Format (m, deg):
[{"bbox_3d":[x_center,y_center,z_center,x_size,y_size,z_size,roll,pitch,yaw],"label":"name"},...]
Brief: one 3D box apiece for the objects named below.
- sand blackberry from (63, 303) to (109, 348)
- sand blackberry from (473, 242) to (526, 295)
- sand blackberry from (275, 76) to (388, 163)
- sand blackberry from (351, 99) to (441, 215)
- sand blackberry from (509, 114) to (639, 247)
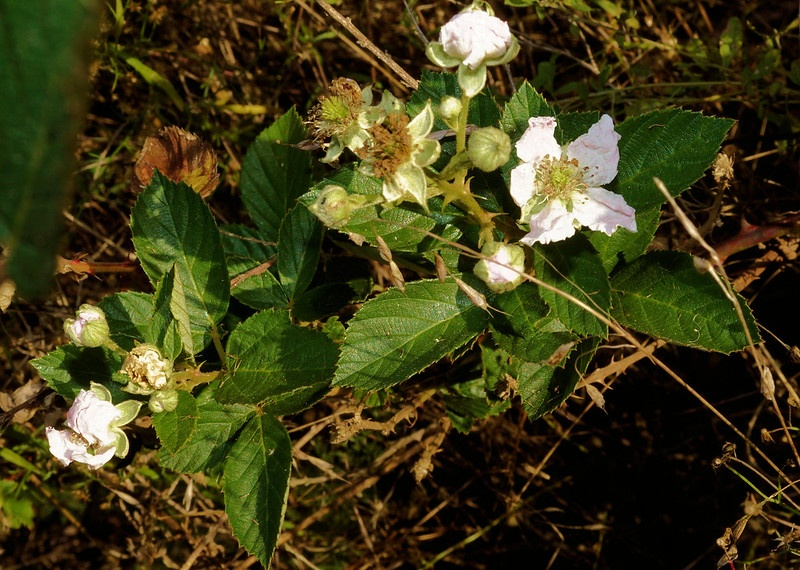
[{"bbox_3d":[-1.190,0.162,3.036,0.168,0.181,0.141,37,77,-5],"label":"sand blackberry"},{"bbox_3d":[0.366,-0.072,2.959,0.185,0.150,0.148,-2,63,3],"label":"sand blackberry"},{"bbox_3d":[-0.270,-0.616,3.008,0.327,0.168,0.346,-31,42,24],"label":"sand blackberry"},{"bbox_3d":[0.002,-0.469,2.851,0.347,0.140,0.341,36,108,21],"label":"sand blackberry"},{"bbox_3d":[0.618,-0.401,2.925,0.426,0.223,0.433,-5,63,1],"label":"sand blackberry"}]
